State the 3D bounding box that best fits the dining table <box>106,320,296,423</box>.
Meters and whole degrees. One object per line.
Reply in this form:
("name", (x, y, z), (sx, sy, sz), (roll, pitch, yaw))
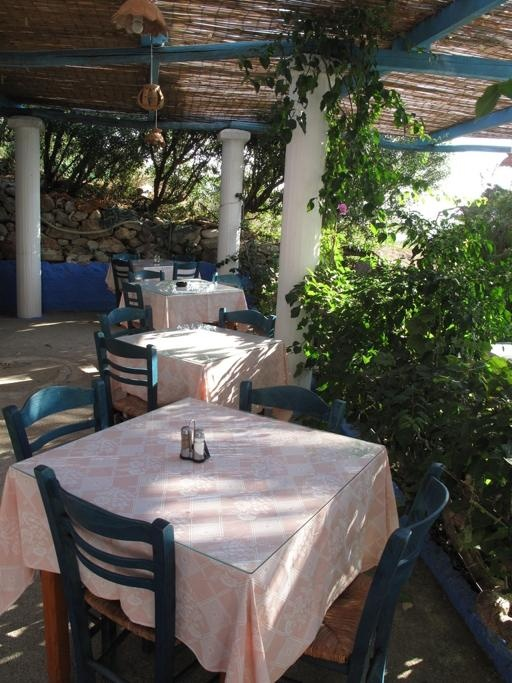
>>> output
("dining table", (-0.223, 0.120, 3.116), (0.710, 0.317, 0.704), (13, 15, 39))
